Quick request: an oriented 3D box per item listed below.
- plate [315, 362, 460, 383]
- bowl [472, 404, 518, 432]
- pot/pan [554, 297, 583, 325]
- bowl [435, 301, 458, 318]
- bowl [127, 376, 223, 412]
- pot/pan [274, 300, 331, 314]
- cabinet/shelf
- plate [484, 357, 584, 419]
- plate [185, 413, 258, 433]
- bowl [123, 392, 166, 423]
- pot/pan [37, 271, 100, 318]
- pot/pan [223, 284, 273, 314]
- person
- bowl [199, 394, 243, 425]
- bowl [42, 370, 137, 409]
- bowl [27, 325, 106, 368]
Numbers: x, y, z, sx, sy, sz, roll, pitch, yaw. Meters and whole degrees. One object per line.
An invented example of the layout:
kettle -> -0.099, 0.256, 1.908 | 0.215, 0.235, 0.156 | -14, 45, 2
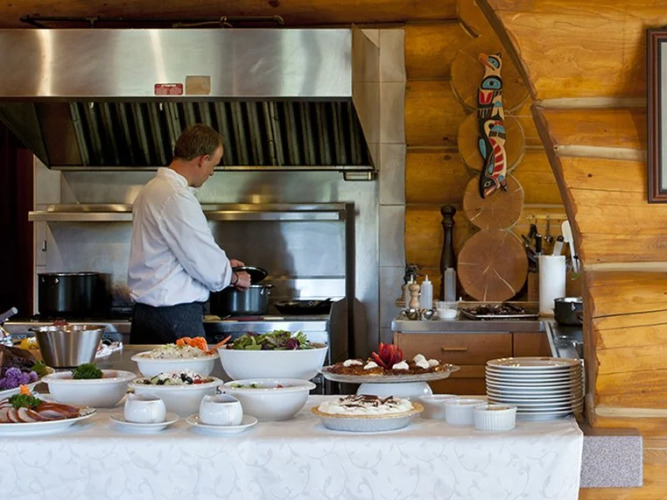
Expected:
plate -> 0.170, 0.392, 2.105 | 0.415, 0.054, 0.209 | -1, -4, -1
bowl -> 0.434, 0.457, 1.844 | 0.109, 0.061, 0.054 | -2, -4, 10
pot/pan -> 1.185, 0.318, 3.489 | 0.188, 0.094, 0.171 | 1, -2, 2
bowl -> 0.638, 0.345, 3.881 | 0.118, 0.069, 0.094 | 1, -7, 5
bowl -> -0.436, 0.423, 1.967 | 0.152, 0.046, 0.134 | 1, 1, 4
pot/pan -> -0.182, 0.373, 4.382 | 0.353, 0.094, 0.326 | -2, -4, 3
cabinet/shelf -> 0.616, 0.472, 2.901 | 0.514, 0.271, 0.253 | -1, -4, 3
plate -> 0.588, 0.395, 2.015 | 0.222, 0.082, 0.202 | 0, -5, -2
plate -> -0.302, 0.473, 1.848 | 0.188, 0.040, 0.119 | -1, -4, -4
bowl -> -0.504, 0.418, 1.829 | 0.077, 0.058, 0.097 | 1, 1, -36
pot/pan -> -1.714, 0.296, 4.392 | 0.356, 0.204, 0.302 | 0, -6, -6
pot/pan -> -0.513, 0.304, 4.158 | 0.253, 0.134, 0.178 | 1, -4, -5
person -> -0.749, -0.082, 3.340 | 0.481, 1.070, 0.292 | -1, -4, -15
bowl -> -0.298, 0.440, 1.842 | 0.111, 0.083, 0.131 | -1, -3, -19
bowl -> -0.756, 0.425, 2.098 | 0.278, 0.085, 0.256 | 1, -4, 0
bowl -> -1.019, 0.380, 2.669 | 0.307, 0.142, 0.288 | -2, 2, 0
